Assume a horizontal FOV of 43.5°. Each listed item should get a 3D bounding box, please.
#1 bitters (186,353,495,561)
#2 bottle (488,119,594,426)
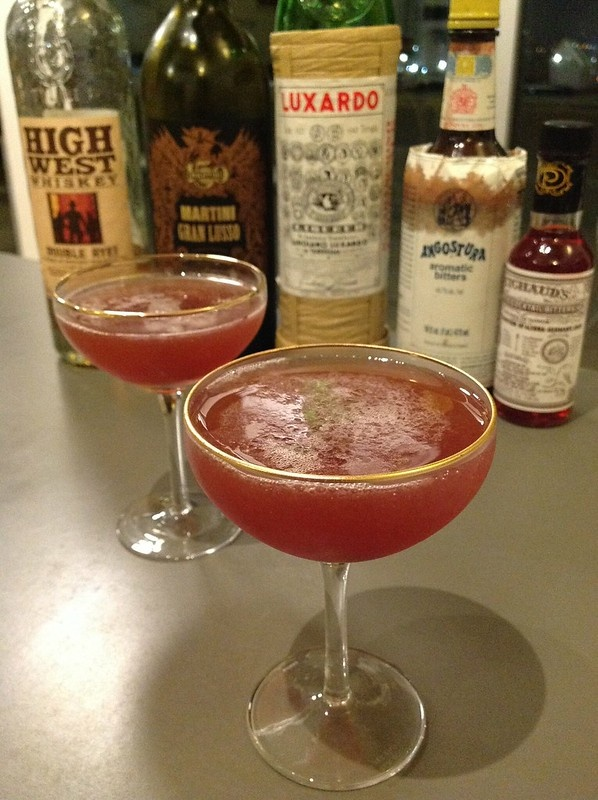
[{"bbox_3d":[0.021,0.025,0.424,0.163,0.065,0.169,-10,25,-18],"label":"bitters"},{"bbox_3d":[0.239,-0.112,0.734,0.082,0.304,0.055,4,28,12],"label":"bottle"}]
